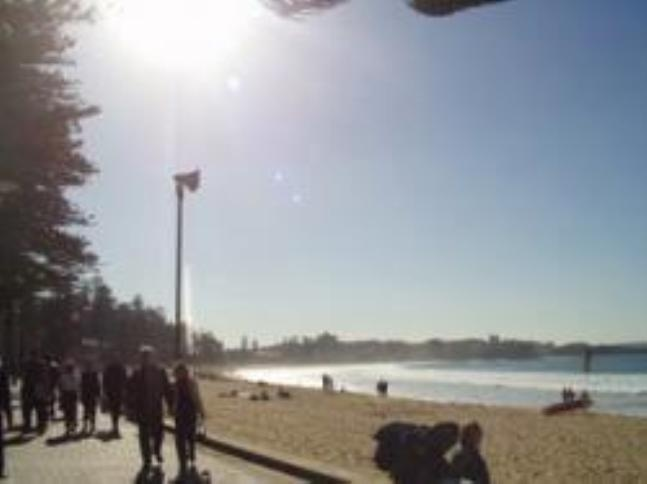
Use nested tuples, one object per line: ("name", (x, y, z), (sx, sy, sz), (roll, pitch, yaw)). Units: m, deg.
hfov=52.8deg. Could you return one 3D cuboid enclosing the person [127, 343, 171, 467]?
("person", (-3.735, 3.553, 13.983), (0.831, 2.543, 0.813), (3, -11, -24))
